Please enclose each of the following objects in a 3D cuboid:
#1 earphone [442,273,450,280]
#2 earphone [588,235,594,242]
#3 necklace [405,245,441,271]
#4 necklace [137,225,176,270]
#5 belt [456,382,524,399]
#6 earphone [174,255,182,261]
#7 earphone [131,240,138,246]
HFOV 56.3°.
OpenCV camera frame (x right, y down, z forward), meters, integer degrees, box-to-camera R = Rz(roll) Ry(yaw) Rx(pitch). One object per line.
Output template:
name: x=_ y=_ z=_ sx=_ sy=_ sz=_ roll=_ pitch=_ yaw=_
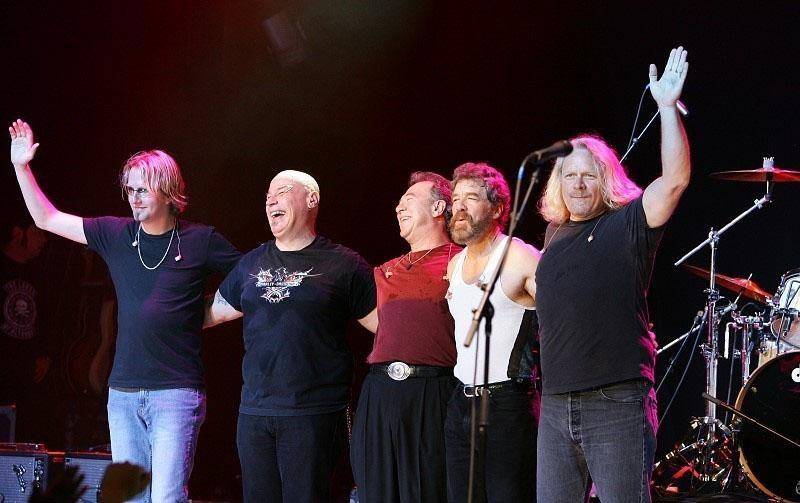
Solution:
earphone: x=0.343 y=0.184 z=5.496 sx=0.037 sy=0.040 sz=0.012 roll=-9 pitch=-24 yaw=36
earphone: x=1.270 y=-0.087 z=4.986 sx=0.025 sy=0.045 sz=0.011 roll=26 pitch=8 yaw=36
necklace: x=0.143 y=0.071 z=5.630 sx=0.160 sy=0.031 sz=0.168 roll=-40 pitch=7 yaw=-21
necklace: x=-1.986 y=-0.001 z=5.992 sx=0.220 sy=0.376 sz=0.085 roll=2 pitch=-9 yaw=3
belt: x=0.617 y=0.949 z=5.165 sx=0.479 sy=0.115 sz=0.174 roll=-6 pitch=-15 yaw=10
earphone: x=-1.762 y=0.054 z=5.916 sx=0.033 sy=0.037 sz=0.043 roll=-3 pitch=1 yaw=19
earphone: x=-2.129 y=-0.065 z=5.987 sx=0.040 sy=0.045 sz=0.012 roll=-3 pitch=-19 yaw=16
